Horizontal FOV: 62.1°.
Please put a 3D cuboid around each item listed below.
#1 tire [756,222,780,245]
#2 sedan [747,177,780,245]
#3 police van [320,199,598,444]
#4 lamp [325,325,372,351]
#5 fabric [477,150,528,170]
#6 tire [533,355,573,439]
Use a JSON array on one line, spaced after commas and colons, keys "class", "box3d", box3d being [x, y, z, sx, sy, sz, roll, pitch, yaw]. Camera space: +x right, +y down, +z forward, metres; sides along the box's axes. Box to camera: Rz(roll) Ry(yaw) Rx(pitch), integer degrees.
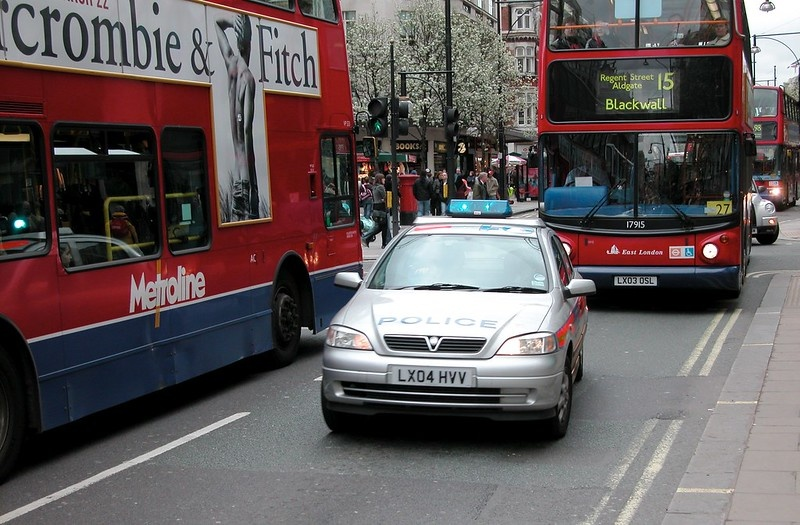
[{"class": "tire", "box3d": [14.202, -1.105, 25.902, 0.669, 0.579, 1.167, -1, -2, 6]}, {"class": "sedan", "box3d": [13.947, -1.816, 26.418, 1.879, 2.122, 3.925, -1, 1, 29]}, {"class": "police van", "box3d": [0.757, 0.516, 7.203, 1.665, 1.430, 2.953, 0, 1, 15]}, {"class": "lamp", "box3d": [-0.488, 0.710, 6.174, 0.534, 0.178, 0.146, 2, 11, 34]}, {"class": "fabric", "box3d": [9.246, -8.979, 58.225, 4.967, 1.413, 5.105, -2, 7, -1]}, {"class": "tire", "box3d": [1.513, 1.294, 6.538, 0.239, 0.859, 0.818, 1, 25, 26]}]
